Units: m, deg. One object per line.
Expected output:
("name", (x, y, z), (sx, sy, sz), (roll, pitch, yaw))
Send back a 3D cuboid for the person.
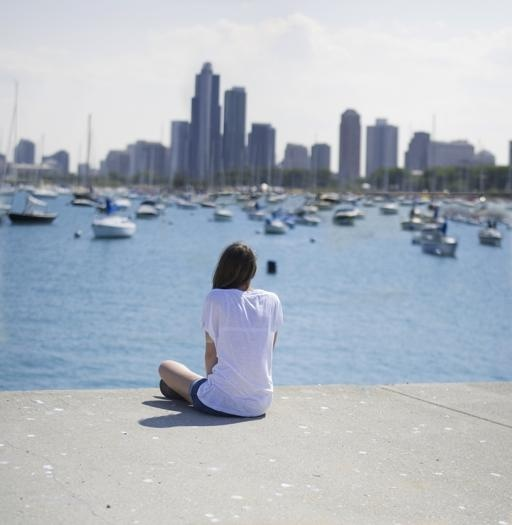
("person", (-0.217, 0.389, 6.104), (0.724, 0.978, 0.698), (3, 1, 15))
